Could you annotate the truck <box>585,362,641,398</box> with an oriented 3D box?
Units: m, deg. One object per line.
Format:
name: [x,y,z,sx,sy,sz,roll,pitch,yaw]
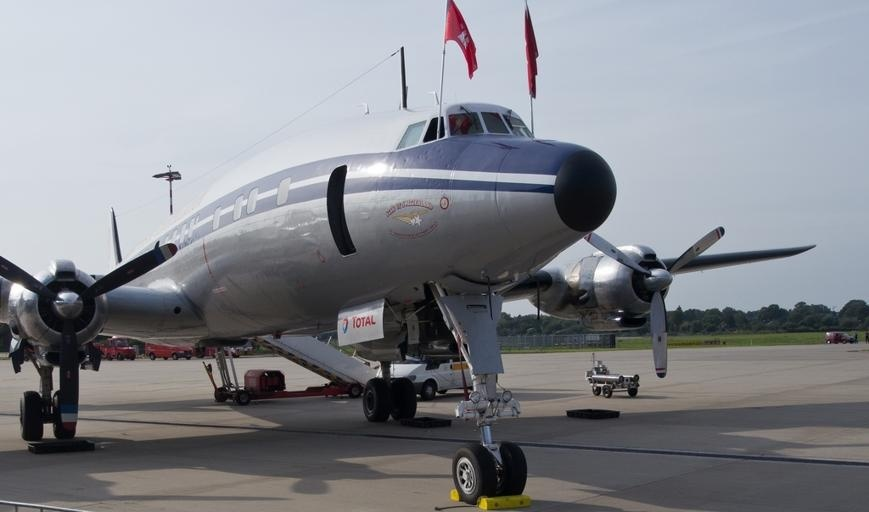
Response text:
truck: [6.296,4.342,28.086,1.312,1.051,1.764,-2,1,-30]

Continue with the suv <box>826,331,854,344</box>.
suv: [43.248,8.935,84.123,2.774,1.195,1.996,-7,-7,37]

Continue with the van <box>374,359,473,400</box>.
van: [-0.568,4.262,27.840,4.108,1.814,1.967,10,-14,-39]
